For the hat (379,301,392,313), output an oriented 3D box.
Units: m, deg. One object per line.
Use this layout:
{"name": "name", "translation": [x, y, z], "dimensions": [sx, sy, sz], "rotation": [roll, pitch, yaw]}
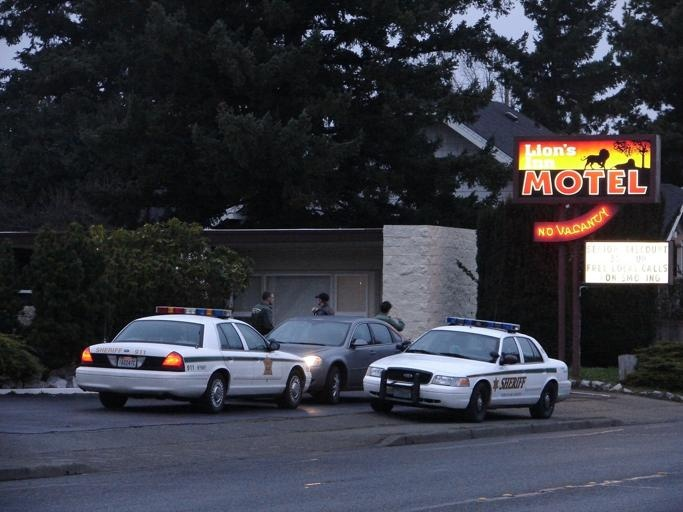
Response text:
{"name": "hat", "translation": [1.142, 1.365, 25.500], "dimensions": [0.236, 0.337, 0.317], "rotation": [0, -9, 2]}
